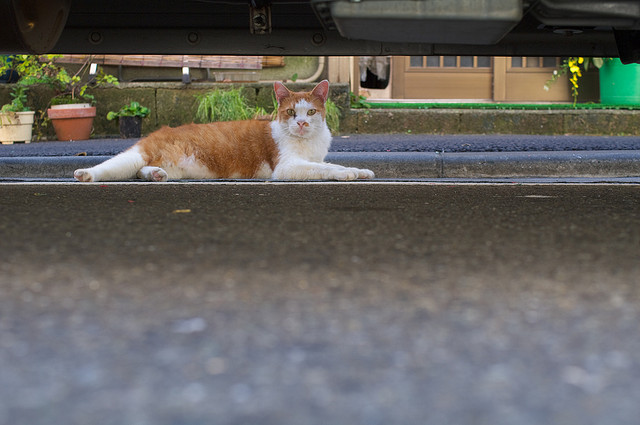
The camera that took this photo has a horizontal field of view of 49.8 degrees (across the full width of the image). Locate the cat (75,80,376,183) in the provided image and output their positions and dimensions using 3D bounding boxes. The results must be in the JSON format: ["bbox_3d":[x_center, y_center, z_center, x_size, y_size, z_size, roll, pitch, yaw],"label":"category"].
[{"bbox_3d":[-0.583,-0.432,4.628,1.756,0.628,0.863,-2,8,-17],"label":"cat"}]

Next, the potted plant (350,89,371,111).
[{"bbox_3d":[0.453,-1.267,7.713,0.255,0.108,0.252,15,19,-13],"label":"potted plant"}]

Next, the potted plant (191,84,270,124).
[{"bbox_3d":[-0.929,-1.002,7.088,0.573,0.346,0.614,10,9,23],"label":"potted plant"}]

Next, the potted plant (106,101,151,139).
[{"bbox_3d":[-1.968,-0.935,7.072,0.398,0.287,0.403,0,2,6],"label":"potted plant"}]

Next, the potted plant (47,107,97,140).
[{"bbox_3d":[-2.463,-0.884,6.822,0.375,0.277,0.373,0,4,2],"label":"potted plant"}]
